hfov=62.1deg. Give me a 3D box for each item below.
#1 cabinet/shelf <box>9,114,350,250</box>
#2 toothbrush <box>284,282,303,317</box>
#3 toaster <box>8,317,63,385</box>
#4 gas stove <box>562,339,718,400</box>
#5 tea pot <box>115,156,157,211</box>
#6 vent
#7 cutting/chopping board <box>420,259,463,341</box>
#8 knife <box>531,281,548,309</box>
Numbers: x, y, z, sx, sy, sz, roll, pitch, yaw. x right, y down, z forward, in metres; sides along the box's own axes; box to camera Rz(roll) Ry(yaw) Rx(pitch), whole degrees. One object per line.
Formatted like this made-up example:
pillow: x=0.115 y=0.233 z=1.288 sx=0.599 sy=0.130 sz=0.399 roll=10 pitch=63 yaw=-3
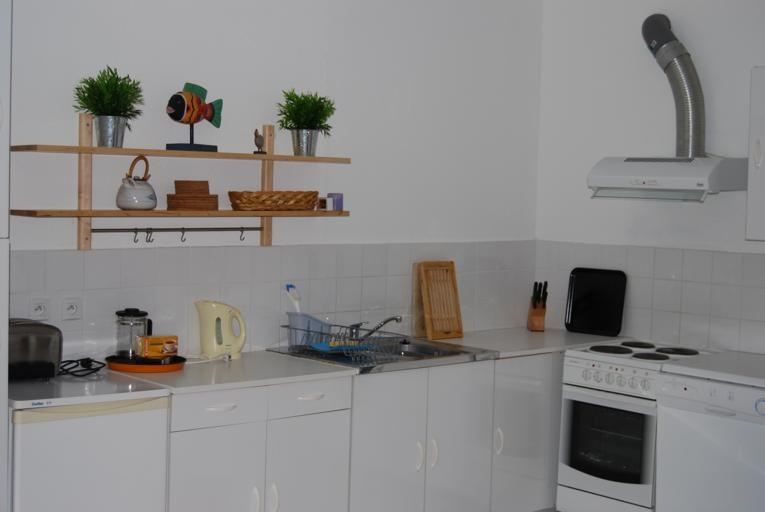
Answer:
cabinet/shelf: x=-1.103 y=-0.382 z=3.439 sx=1.608 sy=0.711 sz=0.403 roll=-3 pitch=3 yaw=-31
toothbrush: x=-0.548 y=0.260 z=3.886 sx=0.110 sy=0.185 sz=0.155 roll=-2 pitch=2 yaw=-8
toaster: x=-1.674 y=0.465 z=3.029 sx=0.310 sy=0.270 sz=0.171 roll=-1 pitch=9 yaw=-30
gas stove: x=1.687 y=0.725 z=4.101 sx=0.827 sy=0.221 sz=0.807 roll=-5 pitch=3 yaw=-21
tea pot: x=-1.264 y=-0.363 z=3.249 sx=0.213 sy=0.311 sz=0.308 roll=2 pitch=-5 yaw=1
vent: x=1.727 y=-0.473 z=3.868 sx=0.982 sy=0.301 sz=0.512 roll=4 pitch=7 yaw=38
cutting/chopping board: x=0.397 y=0.302 z=4.355 sx=0.274 sy=0.529 sz=0.136 roll=-3 pitch=3 yaw=-28
knife: x=1.203 y=0.295 z=4.828 sx=0.114 sy=0.199 sz=0.252 roll=-1 pitch=2 yaw=16
